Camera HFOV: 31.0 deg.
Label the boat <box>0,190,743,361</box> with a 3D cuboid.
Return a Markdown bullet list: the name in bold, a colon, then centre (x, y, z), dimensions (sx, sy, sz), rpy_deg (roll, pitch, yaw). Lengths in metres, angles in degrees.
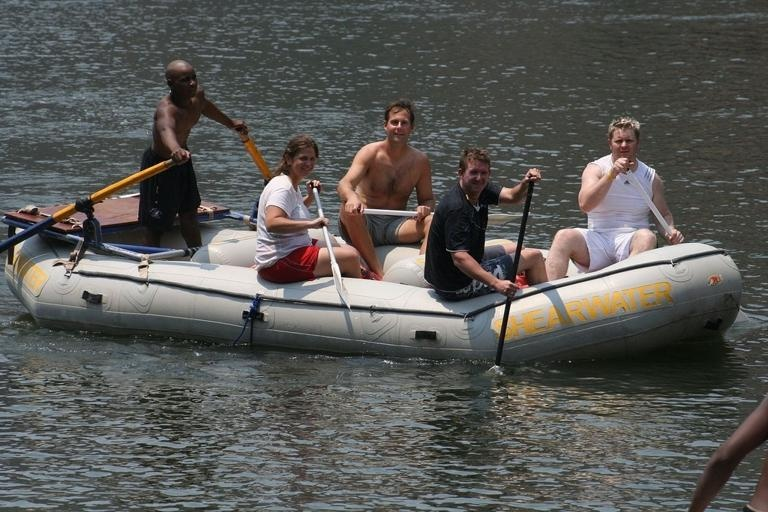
- **boat**: centre (-0.217, 0.556, 17.225), dimensions (7.372, 0.700, 3.089), rpy_deg (2, 5, 14)

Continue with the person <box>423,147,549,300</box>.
- **person**: centre (1.268, -0.347, 16.588), dimensions (1.137, 1.888, 0.934), rpy_deg (-6, 21, -29)

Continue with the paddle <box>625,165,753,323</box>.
- **paddle**: centre (3.629, -0.374, 17.161), dimensions (0.210, 1.918, 0.183), rpy_deg (-54, 10, -4)
